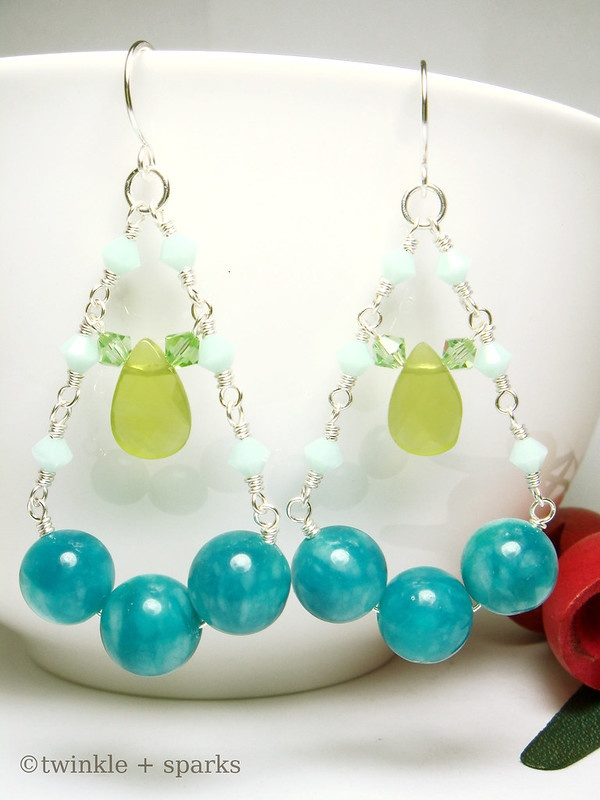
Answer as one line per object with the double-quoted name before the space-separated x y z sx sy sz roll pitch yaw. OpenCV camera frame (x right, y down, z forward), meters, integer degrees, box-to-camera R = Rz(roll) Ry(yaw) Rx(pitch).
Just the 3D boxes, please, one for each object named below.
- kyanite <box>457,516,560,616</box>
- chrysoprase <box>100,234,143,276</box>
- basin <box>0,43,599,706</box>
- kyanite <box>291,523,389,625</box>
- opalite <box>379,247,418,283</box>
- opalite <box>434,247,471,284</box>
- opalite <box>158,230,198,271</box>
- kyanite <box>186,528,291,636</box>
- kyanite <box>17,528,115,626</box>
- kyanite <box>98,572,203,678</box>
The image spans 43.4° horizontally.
"kyanite" 0.188 0.149 0.676 0.083 0.090 0.083 2 15 34
"chrysoprase" -0.137 -0.111 0.585 0.017 0.026 0.027 32 47 28
"basin" -0.009 -0.030 0.785 0.514 0.343 0.545 0 1 0
"kyanite" 0.033 0.150 0.649 0.083 0.088 0.080 -5 15 -7
"opalite" 0.078 -0.107 0.598 0.028 0.024 0.013 3 7 -21
"opalite" 0.123 -0.106 0.609 0.028 0.034 0.027 -22 5 18
"opalite" -0.091 -0.111 0.572 0.031 0.024 0.010 19 7 -13
"kyanite" -0.050 0.152 0.632 0.089 0.091 0.079 -2 4 -25
"kyanite" -0.198 0.152 0.645 0.083 0.087 0.080 0 -3 22
"kyanite" -0.115 0.190 0.651 0.085 0.078 0.089 1 57 -6
